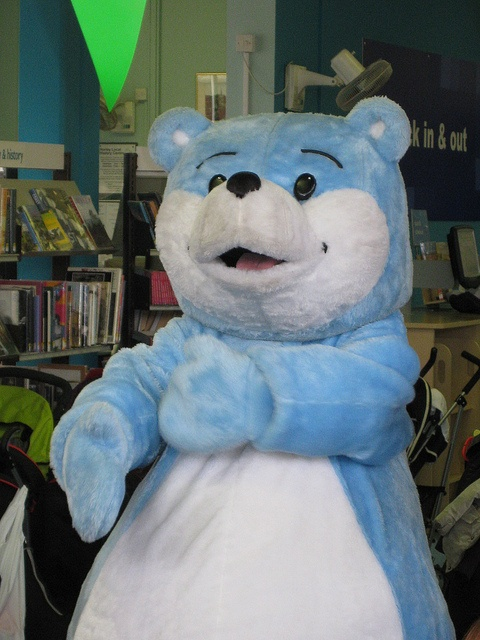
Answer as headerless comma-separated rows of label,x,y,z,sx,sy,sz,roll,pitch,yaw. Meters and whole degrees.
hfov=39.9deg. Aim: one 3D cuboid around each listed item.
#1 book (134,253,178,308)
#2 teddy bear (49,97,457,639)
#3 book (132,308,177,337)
book,-0.415,-0.148,3.512,0.273,0.383,0.125,-8,-8,36
teddy bear,0.043,0.088,0.877,0.508,0.706,0.476,4,20,16
book,-0.455,-0.006,3.571,0.214,0.097,0.263,-2,2,-41
